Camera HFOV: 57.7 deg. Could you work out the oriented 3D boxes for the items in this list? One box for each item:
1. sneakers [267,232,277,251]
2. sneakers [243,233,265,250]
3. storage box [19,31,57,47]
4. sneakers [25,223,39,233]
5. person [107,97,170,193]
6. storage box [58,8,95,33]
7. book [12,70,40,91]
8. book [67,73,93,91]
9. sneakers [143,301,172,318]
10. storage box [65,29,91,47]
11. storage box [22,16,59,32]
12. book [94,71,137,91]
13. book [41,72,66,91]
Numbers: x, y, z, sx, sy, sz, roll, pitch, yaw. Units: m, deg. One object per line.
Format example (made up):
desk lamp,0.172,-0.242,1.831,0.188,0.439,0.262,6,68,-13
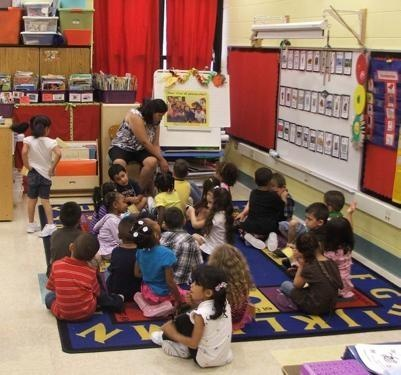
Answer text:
sneakers,0.703,0.516,3.521,0.070,0.060,0.168,4,51,5
sneakers,0.528,0.527,3.603,0.217,0.103,0.072,41,-6,16
storage box,-2.143,-1.925,4.806,0.308,0.122,0.227,-4,15,-14
sneakers,-1.722,0.401,3.728,0.059,0.081,0.165,2,11,4
person,-0.725,-0.458,4.429,0.717,1.254,0.745,12,20,-1
storage box,-1.698,-2.299,4.956,0.304,0.217,0.322,-2,11,-9
book,-2.317,-1.415,4.838,0.315,0.288,0.293,-3,10,-27
book,-1.619,-1.427,4.934,0.241,0.171,0.253,0,14,-8
sneakers,-0.268,0.745,2.282,0.134,0.071,0.114,0,-1,-3
storage box,-1.682,-2.069,5.075,0.242,0.168,0.250,0,13,-5
storage box,-2.103,-2.152,4.779,0.337,0.169,0.250,-3,8,-20
book,-1.209,-1.464,5.044,0.628,0.260,0.311,3,9,1
book,-1.988,-1.403,4.901,0.295,0.224,0.131,-1,9,-20
